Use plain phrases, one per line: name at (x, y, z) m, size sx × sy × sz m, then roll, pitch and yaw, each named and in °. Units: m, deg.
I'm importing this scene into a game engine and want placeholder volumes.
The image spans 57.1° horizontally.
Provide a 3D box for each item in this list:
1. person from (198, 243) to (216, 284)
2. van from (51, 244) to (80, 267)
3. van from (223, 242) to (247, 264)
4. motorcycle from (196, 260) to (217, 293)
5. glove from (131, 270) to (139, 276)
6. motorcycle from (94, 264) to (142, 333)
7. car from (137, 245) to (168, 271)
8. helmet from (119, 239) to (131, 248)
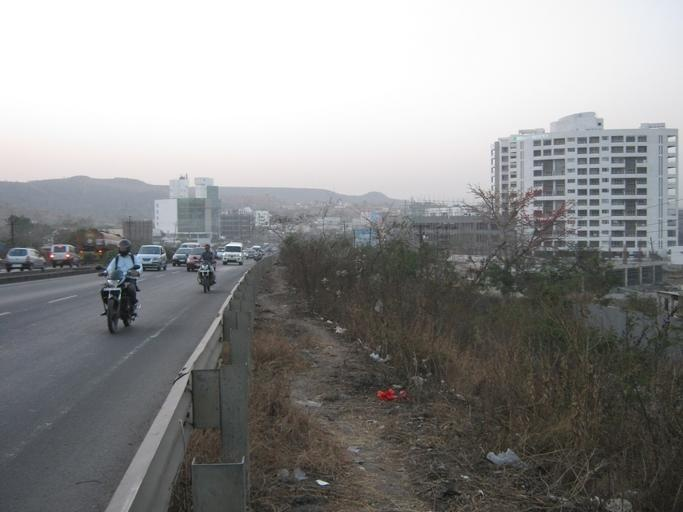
person at (-5.751, 0.376, 27.519) m, size 0.735 × 1.071 × 1.845 m, roll -1°, pitch -3°, yaw -4°
van at (-22.464, 0.067, 50.736) m, size 1.645 × 1.856 × 2.887 m, roll 3°, pitch 7°, yaw -6°
van at (-10.440, -0.224, 60.463) m, size 1.477 × 1.692 × 2.783 m, roll 0°, pitch -6°, yaw -3°
motorcycle at (-5.866, 0.904, 27.061) m, size 0.573 × 1.407 × 1.468 m, roll 3°, pitch 7°, yaw -9°
glove at (-5.212, 0.456, 15.787) m, size 0.198 × 0.111 × 0.146 m, roll 6°, pitch 2°, yaw 4°
motorcycle at (-5.712, 1.091, 16.044) m, size 0.920 × 1.813 × 1.975 m, roll 1°, pitch 7°, yaw -19°
car at (-12.552, 0.156, 41.463) m, size 1.714 × 1.681 × 3.274 m, roll 0°, pitch -5°, yaw -4°
helmet at (-5.392, -0.294, 15.505) m, size 0.220 × 0.262 × 0.306 m, roll 2°, pitch 15°, yaw -18°
